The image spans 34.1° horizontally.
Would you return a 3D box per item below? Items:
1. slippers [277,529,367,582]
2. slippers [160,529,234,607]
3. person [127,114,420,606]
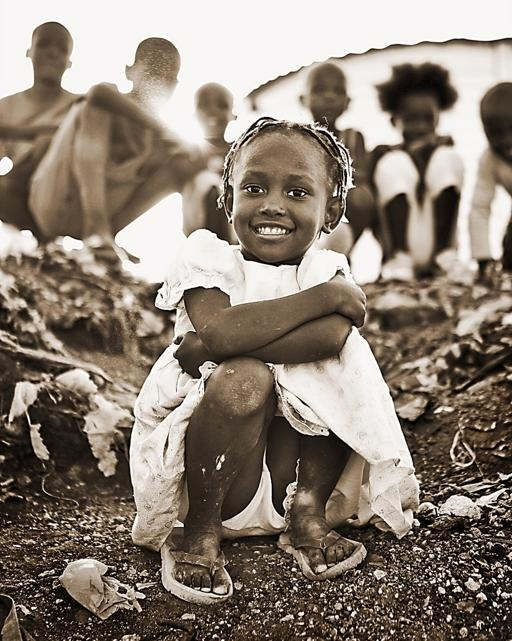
[{"bbox_3d":[0.183,0.642,2.336,0.257,0.118,0.193,1,8,6],"label":"slippers"},{"bbox_3d":[-0.194,0.672,2.357,0.177,0.039,0.424,6,-1,-8],"label":"slippers"},{"bbox_3d":[0.056,0.057,2.403,0.837,1.290,0.660,-1,10,-10],"label":"person"}]
